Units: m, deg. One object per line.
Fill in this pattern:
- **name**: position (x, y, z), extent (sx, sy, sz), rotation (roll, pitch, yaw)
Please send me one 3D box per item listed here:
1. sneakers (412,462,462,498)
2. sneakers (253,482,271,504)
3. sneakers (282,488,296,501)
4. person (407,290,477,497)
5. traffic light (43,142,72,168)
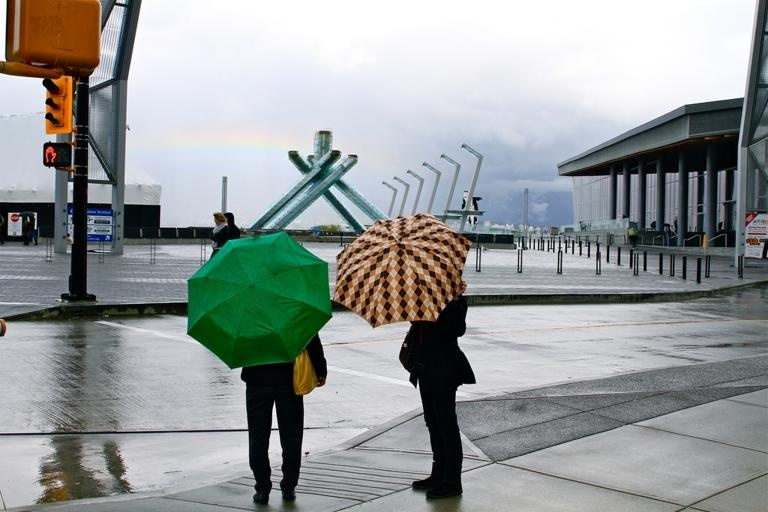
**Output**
- **sneakers**: position (0.532, 2.204, 7.701), extent (0.274, 0.217, 0.351), rotation (4, -10, -16)
- **sneakers**: position (-1.181, 2.296, 7.528), extent (0.103, 0.173, 0.260), rotation (4, -1, -18)
- **sneakers**: position (-0.934, 2.356, 7.664), extent (0.128, 0.079, 0.093), rotation (9, -8, -19)
- **person**: position (0.494, 1.378, 7.822), extent (0.719, 1.934, 0.612), rotation (0, 2, 18)
- **traffic light**: position (-7.177, -2.240, 17.167), extent (0.676, 0.617, 0.327), rotation (1, 2, -9)
